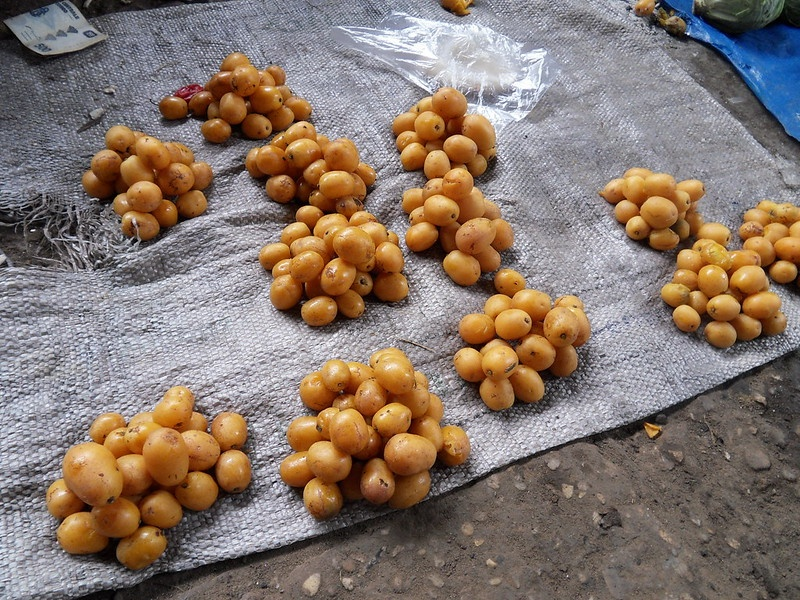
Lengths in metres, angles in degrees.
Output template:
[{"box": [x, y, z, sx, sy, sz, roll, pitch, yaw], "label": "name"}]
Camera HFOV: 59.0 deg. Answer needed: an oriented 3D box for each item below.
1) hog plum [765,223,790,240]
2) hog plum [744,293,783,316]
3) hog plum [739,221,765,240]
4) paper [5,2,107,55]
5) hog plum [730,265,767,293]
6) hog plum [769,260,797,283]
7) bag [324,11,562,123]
[{"box": [1.992, -0.368, 3.755, 0.105, 0.085, 0.082, 17, 43, 27], "label": "hog plum"}, {"box": [1.777, 0.022, 3.484, 0.143, 0.092, 0.105, -9, 35, -19], "label": "hog plum"}, {"box": [1.874, -0.378, 3.785, 0.085, 0.061, 0.108, 7, 38, 19], "label": "hog plum"}, {"box": [-2.049, -1.622, 4.213, 0.392, 0.064, 0.439, -29, 68, -26], "label": "paper"}, {"box": [1.721, -0.103, 3.555, 0.153, 0.117, 0.125, -6, 77, -4], "label": "hog plum"}, {"box": [1.994, -0.146, 3.679, 0.099, 0.128, 0.074, 1, 79, 11], "label": "hog plum"}, {"box": [0.340, -1.503, 4.457, 1.147, 0.243, 0.798, 31, 58, 12], "label": "bag"}]
